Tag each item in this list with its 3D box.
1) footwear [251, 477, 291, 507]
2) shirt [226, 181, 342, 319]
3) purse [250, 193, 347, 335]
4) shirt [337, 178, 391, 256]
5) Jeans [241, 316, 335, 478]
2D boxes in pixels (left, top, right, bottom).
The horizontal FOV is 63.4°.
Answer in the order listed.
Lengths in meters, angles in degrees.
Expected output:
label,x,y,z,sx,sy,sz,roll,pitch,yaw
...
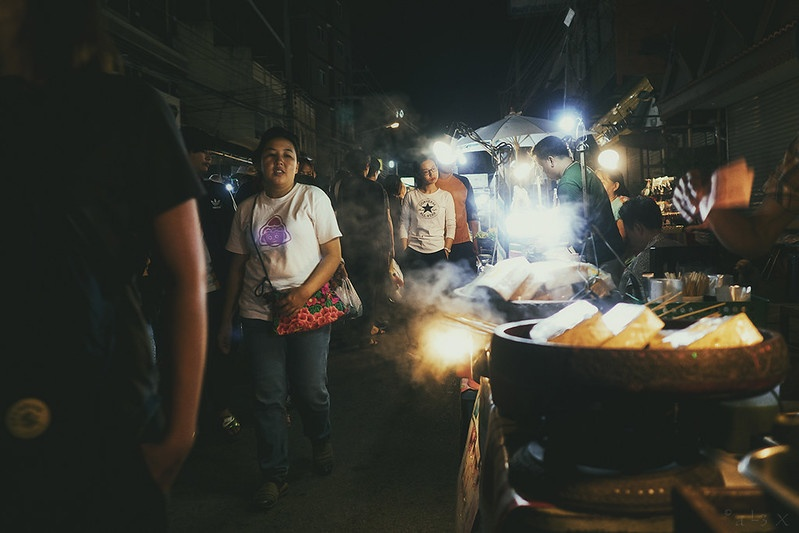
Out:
label,x,y,z,sx,sy,sz,roll,pitch,yaw
footwear,-0.794,1.384,4.032,0.123,0.115,0.315,1,8,17
shirt,-0.742,-0.070,4.164,0.922,1.054,0.527,-1,-4,-6
purse,-0.671,-0.010,4.125,0.330,0.839,0.666,-10,10,38
shirt,-0.425,-0.557,7.426,0.710,0.949,0.481,3,24,15
Jeans,-0.698,0.810,4.209,0.549,0.988,0.338,-5,8,-25
